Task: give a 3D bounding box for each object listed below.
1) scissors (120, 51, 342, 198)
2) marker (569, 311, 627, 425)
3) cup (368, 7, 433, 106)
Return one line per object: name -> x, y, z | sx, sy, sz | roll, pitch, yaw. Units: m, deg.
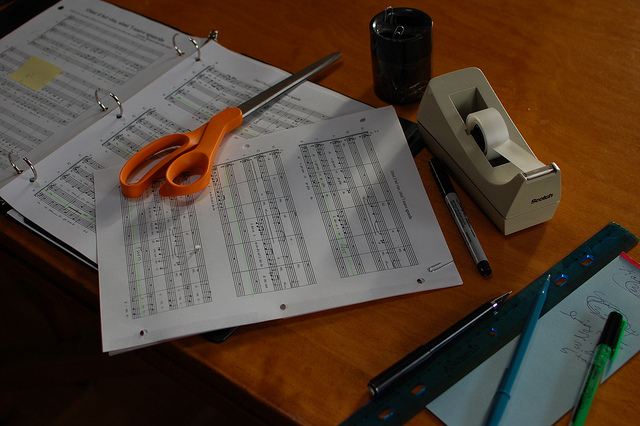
scissors -> -0.175, -0.166, 1.016 | 0.124, 0.037, 0.463 | 28, 54, 28
marker -> 0.409, 0.224, 0.753 | 0.047, 0.039, 0.278 | 23, 63, 8
cup -> 0.151, -0.285, 0.947 | 0.124, 0.138, 0.127 | -2, 47, 2
